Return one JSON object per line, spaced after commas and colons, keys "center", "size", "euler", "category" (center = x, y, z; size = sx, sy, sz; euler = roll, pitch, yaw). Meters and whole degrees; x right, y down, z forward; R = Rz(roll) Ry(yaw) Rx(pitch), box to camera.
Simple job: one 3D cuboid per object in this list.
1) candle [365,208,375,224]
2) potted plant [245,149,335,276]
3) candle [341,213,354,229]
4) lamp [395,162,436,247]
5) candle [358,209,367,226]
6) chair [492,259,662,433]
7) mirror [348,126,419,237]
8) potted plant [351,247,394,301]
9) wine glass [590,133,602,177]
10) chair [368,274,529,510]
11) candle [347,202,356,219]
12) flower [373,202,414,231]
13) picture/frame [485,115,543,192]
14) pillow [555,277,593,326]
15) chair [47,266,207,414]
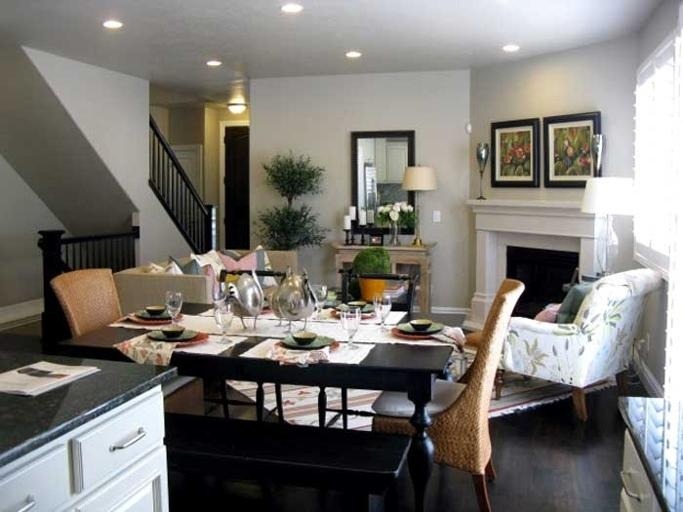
{"center": [0.356, -0.496, 6.396], "size": [0.142, 0.172, 0.148], "euler": [0, -1, -3], "category": "candle"}
{"center": [-0.614, -0.677, 6.848], "size": [1.109, 1.637, 1.131], "euler": [0, 0, -4], "category": "potted plant"}
{"center": [0.062, -0.428, 6.293], "size": [0.151, 0.268, 0.155], "euler": [1, 4, 19], "category": "candle"}
{"center": [0.931, -0.605, 6.149], "size": [0.407, 0.935, 0.522], "euler": [2, 8, 10], "category": "lamp"}
{"center": [0.263, -0.489, 6.365], "size": [0.110, 0.195, 0.295], "euler": [1, 8, 1], "category": "candle"}
{"center": [1.754, 0.568, 3.851], "size": [0.973, 1.099, 1.175], "euler": [-1, -1, 40], "category": "chair"}
{"center": [0.513, -0.921, 6.375], "size": [0.797, 1.495, 0.055], "euler": [1, -20, 5], "category": "mirror"}
{"center": [0.229, 0.152, 4.221], "size": [0.371, 0.493, 0.371], "euler": [1, -5, -7], "category": "potted plant"}
{"center": [2.509, -0.995, 5.036], "size": [0.111, 0.420, 0.168], "euler": [4, 9, 26], "category": "wine glass"}
{"center": [0.503, 0.630, 3.033], "size": [1.003, 1.508, 0.884], "euler": [2, -1, 16], "category": "chair"}
{"center": [0.110, -0.551, 6.404], "size": [0.144, 0.257, 0.146], "euler": [0, -1, -1], "category": "candle"}
{"center": [0.671, -0.463, 6.250], "size": [0.335, 0.272, 0.350], "euler": [1, 3, -1], "category": "flower"}
{"center": [1.976, -1.172, 5.802], "size": [0.841, 1.141, 0.120], "euler": [2, 2, 42], "category": "picture/frame"}
{"center": [1.617, 0.321, 3.582], "size": [0.082, 0.287, 0.243], "euler": [18, 38, 23], "category": "pillow"}
{"center": [-1.545, 0.400, 3.554], "size": [0.826, 1.356, 0.798], "euler": [-1, 6, 19], "category": "chair"}
